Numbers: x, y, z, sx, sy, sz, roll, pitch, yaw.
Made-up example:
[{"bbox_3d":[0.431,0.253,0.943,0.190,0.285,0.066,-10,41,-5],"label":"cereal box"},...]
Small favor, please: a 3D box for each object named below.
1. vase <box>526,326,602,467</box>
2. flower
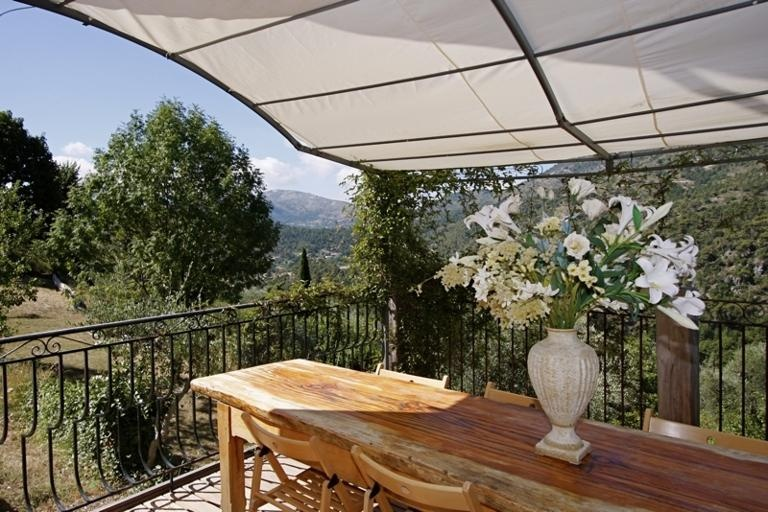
[{"bbox_3d":[1.092,0.846,3.112,0.411,0.805,0.294,1,-7,12],"label":"vase"},{"bbox_3d":[1.049,0.049,3.250,1.063,0.776,1.298,-4,3,-28],"label":"flower"}]
